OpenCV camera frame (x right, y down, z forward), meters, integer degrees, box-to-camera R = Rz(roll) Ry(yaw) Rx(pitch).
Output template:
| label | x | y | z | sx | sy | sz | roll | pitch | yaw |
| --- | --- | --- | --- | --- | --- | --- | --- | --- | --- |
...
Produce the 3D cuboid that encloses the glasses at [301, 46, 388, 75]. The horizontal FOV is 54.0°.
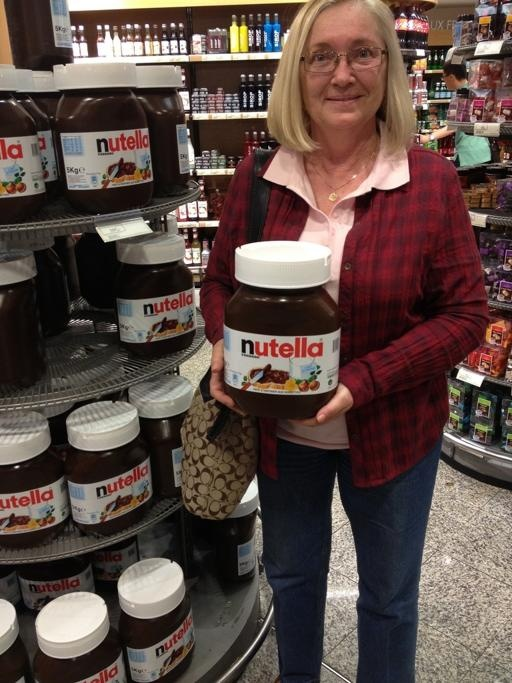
| label | x | y | z | sx | sy | sz | roll | pitch | yaw |
| --- | --- | --- | --- | --- | --- | --- | --- | --- | --- |
| glasses | 0.156 | -0.508 | 0.913 | 0.136 | 0.043 | 0.043 | 0 | 22 | 13 |
